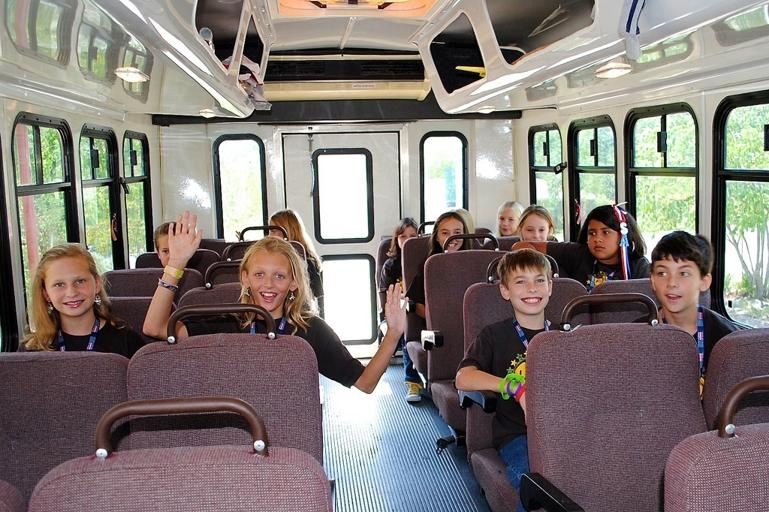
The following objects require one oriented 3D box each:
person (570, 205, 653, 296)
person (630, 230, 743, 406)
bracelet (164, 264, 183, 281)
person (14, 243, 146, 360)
[{"bbox_3d":[1.918,-0.029,4.642,0.451,0.850,0.827,1,-3,-26],"label":"person"},{"bbox_3d":[1.826,0.254,3.274,0.407,0.771,0.480,-1,10,11],"label":"person"},{"bbox_3d":[-1.234,0.100,3.273,0.106,0.064,0.105,9,-5,26],"label":"bracelet"},{"bbox_3d":[-2.057,0.319,3.678,0.856,0.831,0.434,-2,-7,-27],"label":"person"}]
